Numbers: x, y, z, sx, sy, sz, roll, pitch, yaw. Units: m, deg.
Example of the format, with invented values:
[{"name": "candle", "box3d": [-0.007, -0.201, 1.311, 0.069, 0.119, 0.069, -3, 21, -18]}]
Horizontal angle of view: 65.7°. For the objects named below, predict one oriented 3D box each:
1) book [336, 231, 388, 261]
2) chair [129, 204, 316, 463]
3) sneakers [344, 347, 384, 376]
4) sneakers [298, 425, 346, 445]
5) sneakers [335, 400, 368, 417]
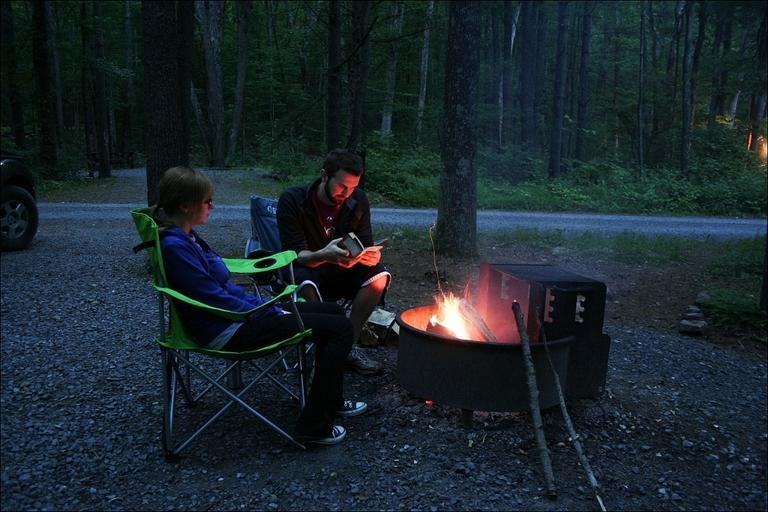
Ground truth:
[{"name": "book", "box3d": [-0.276, -0.104, 5.490, 0.141, 0.251, 0.357, -39, 15, -35]}, {"name": "chair", "box3d": [-1.481, 0.738, 5.931, 2.038, 2.526, 2.057, -1, 8, -9]}, {"name": "sneakers", "box3d": [-0.175, 1.005, 5.745, 0.306, 0.123, 0.235, 7, 8, 16]}, {"name": "sneakers", "box3d": [-0.514, 1.451, 4.944, 0.374, 0.164, 0.156, -4, 16, -12]}, {"name": "sneakers", "box3d": [-0.278, 1.332, 5.194, 0.289, 0.108, 0.115, 2, 3, -4]}]
